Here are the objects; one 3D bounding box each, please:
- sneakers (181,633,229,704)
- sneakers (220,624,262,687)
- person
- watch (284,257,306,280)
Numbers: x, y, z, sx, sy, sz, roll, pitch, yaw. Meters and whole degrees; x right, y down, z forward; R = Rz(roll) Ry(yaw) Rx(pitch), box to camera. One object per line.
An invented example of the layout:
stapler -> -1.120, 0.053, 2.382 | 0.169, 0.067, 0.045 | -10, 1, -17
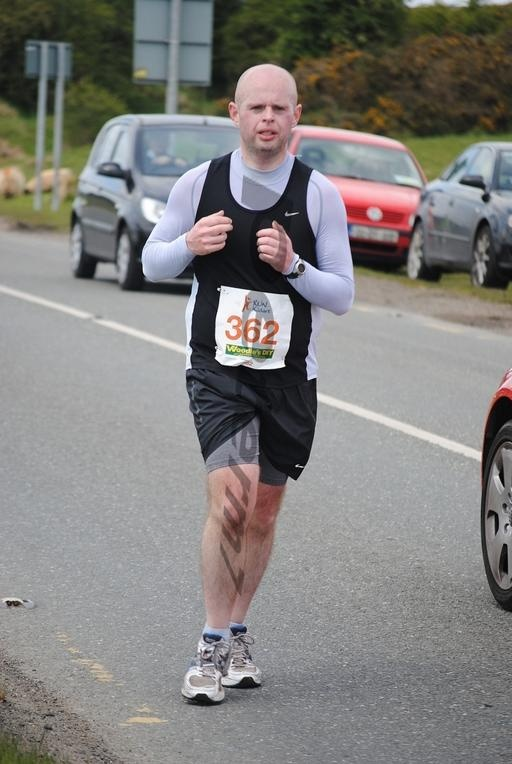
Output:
sneakers -> -0.131, 0.732, 2.317 | 0.114, 0.150, 0.128 | 3, 4, -3
sneakers -> -0.049, 0.750, 2.499 | 0.082, 0.152, 0.235 | 1, -8, -8
person -> -0.025, -0.002, 2.414 | 0.580, 1.636, 0.393 | 3, 4, -9
watch -> 0.101, -0.272, 2.280 | 0.054, 0.061, 0.038 | -1, 11, 25
